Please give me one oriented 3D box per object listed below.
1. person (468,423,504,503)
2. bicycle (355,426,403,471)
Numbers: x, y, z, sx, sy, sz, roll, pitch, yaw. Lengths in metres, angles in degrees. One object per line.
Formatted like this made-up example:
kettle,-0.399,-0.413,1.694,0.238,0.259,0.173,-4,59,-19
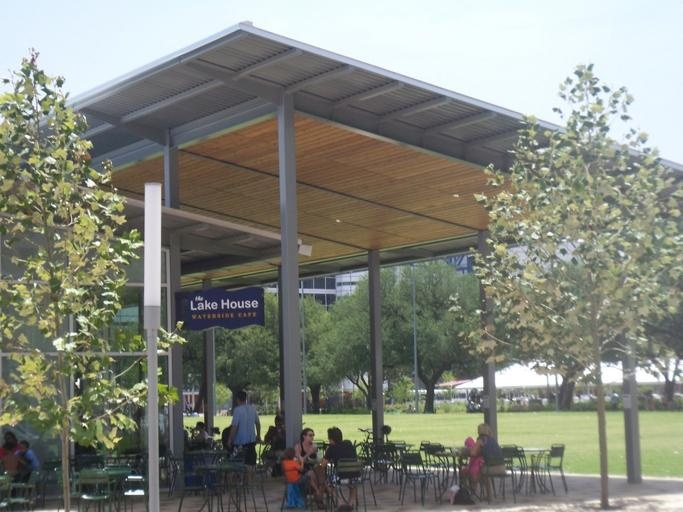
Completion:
person,2.799,3.994,17.736,0.813,1.575,0.582,2,2,42
bicycle,1.035,4.670,20.956,1.094,0.631,1.143,-2,-4,32
